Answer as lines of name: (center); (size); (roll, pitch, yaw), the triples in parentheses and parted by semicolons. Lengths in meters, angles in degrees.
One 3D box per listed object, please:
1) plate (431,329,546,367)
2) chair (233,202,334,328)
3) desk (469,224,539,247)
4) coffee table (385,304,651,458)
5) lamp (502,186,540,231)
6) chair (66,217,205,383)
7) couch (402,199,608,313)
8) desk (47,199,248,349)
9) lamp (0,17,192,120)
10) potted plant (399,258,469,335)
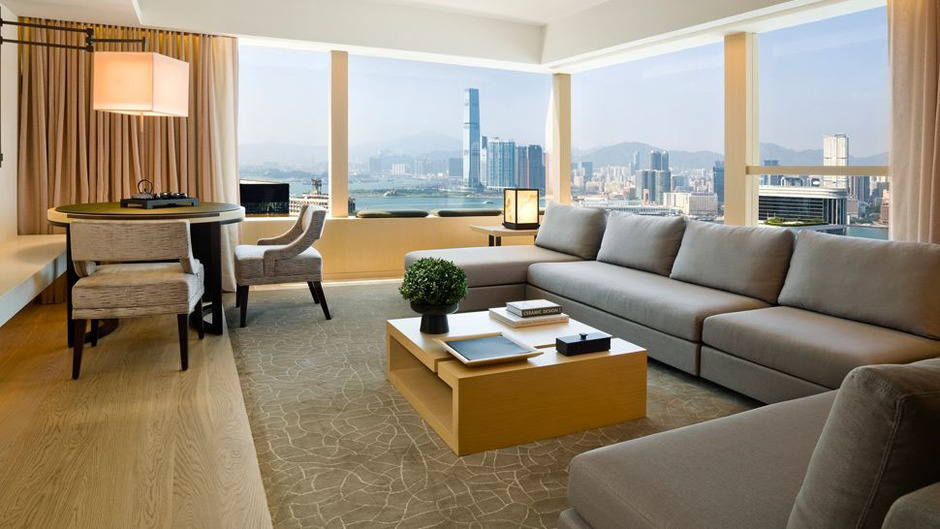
plate: (0.108, 0.582, 3.871); (0.521, 0.068, 0.492); (-4, 15, -24)
chair: (-1.916, 0.006, 5.791); (0.861, 0.901, 0.704); (0, 4, -18)
desk: (0.434, -0.398, 7.290); (0.490, 0.417, 0.471); (-5, 10, -36)
coffee table: (0.198, 0.757, 4.231); (1.283, 0.387, 1.339); (-5, 21, -29)
lamp: (0.710, -0.699, 7.377); (0.559, 0.662, 0.523); (-2, 6, -15)
chair: (-2.738, 0.222, 4.677); (0.932, 1.168, 0.820); (-4, 13, -16)
couch: (0.397, -0.104, 6.147); (1.837, 0.905, 1.229); (-1, 4, -24)
desk: (-2.908, 0.185, 5.367); (1.694, 0.985, 1.573); (0, 3, -9)
lamp: (-3.272, -1.738, 5.389); (1.675, 0.708, 0.898); (-2, 10, -26)
potted plant: (-0.325, 0.224, 4.236); (0.581, 0.521, 0.523); (6, 0, 26)
